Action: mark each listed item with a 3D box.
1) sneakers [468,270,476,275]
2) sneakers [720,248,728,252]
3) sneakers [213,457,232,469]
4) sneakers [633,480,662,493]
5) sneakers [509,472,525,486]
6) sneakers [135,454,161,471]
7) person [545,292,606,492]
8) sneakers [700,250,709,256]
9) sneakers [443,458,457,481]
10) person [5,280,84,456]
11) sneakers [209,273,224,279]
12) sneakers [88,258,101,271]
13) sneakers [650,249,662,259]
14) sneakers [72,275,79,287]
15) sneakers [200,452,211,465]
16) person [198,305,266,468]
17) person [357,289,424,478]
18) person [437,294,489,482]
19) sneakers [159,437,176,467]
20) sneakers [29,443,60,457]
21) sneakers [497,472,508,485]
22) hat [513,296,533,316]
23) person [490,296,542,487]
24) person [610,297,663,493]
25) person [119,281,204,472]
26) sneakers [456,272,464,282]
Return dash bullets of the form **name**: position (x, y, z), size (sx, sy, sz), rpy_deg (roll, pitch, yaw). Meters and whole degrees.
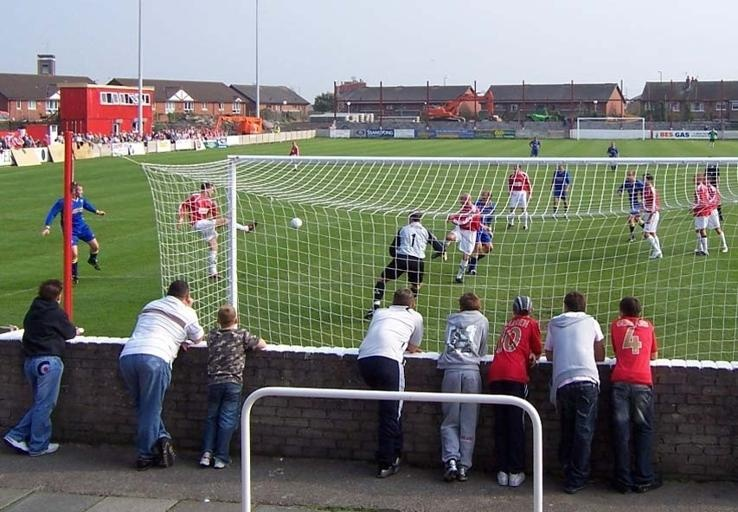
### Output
- **sneakers**: position (2.217, 0.349, 26.160), size (0.144, 0.098, 0.076), rpy_deg (1, -2, 10)
- **sneakers**: position (7.976, -0.135, 27.607), size (0.092, 0.105, 0.275), rpy_deg (-1, 0, 19)
- **sneakers**: position (-2.213, 3.119, 18.692), size (0.263, 0.170, 0.134), rpy_deg (-1, 2, -21)
- **sneakers**: position (4.158, 3.380, 18.244), size (0.473, 0.183, 0.153), rpy_deg (-3, 1, -31)
- **sneakers**: position (2.213, 3.317, 18.337), size (0.107, 0.128, 0.303), rpy_deg (2, 13, 23)
- **sneakers**: position (-3.326, 3.113, 18.624), size (0.169, 0.170, 0.409), rpy_deg (8, 7, 44)
- **person**: position (3.092, 2.014, 18.423), size (0.837, 2.904, 0.633), rpy_deg (1, 2, 9)
- **sneakers**: position (7.395, -0.065, 27.119), size (0.198, 0.133, 0.078), rpy_deg (7, 11, 27)
- **sneakers**: position (1.243, 3.192, 18.394), size (0.205, 0.330, 0.091), rpy_deg (0, 2, -3)
- **person**: position (-5.003, 1.704, 18.949), size (0.938, 2.675, 0.291), rpy_deg (0, 2, -15)
- **sneakers**: position (-3.078, 0.401, 24.910), size (0.264, 0.089, 0.182), rpy_deg (-3, 9, 36)
- **sneakers**: position (-5.926, 0.130, 26.612), size (0.152, 0.183, 0.405), rpy_deg (-27, 27, -28)
- **sneakers**: position (6.289, -0.041, 26.933), size (0.261, 0.189, 0.378), rpy_deg (1, 2, 13)
- **sneakers**: position (-6.042, 0.505, 25.520), size (0.168, 0.212, 0.384), rpy_deg (-2, -2, -2)
- **sneakers**: position (-2.458, 3.070, 18.659), size (0.155, 0.217, 0.074), rpy_deg (0, 2, -2)
- **person**: position (-2.135, 1.979, 18.783), size (0.812, 2.440, 0.368), rpy_deg (0, 2, -6)
- **person**: position (0.324, 1.907, 18.777), size (0.682, 2.762, 0.929), rpy_deg (1, 2, 34)
- **person**: position (1.464, 1.969, 18.609), size (0.744, 2.742, 0.686), rpy_deg (0, 2, -17)
- **sneakers**: position (-3.029, 2.959, 18.702), size (0.278, 0.457, 0.115), rpy_deg (-1, 2, -38)
- **sneakers**: position (-4.945, 2.985, 18.927), size (0.468, 0.182, 0.162), rpy_deg (-12, 23, -33)
- **sneakers**: position (2.007, 3.309, 18.346), size (0.197, 0.190, 0.122), rpy_deg (-2, -2, 24)
- **hat**: position (2.371, 0.734, 18.813), size (0.226, 0.282, 0.287), rpy_deg (4, 22, 8)
- **person**: position (2.184, 2.016, 18.555), size (0.526, 2.773, 0.696), rpy_deg (2, 3, 43)
- **person**: position (3.995, 2.050, 18.385), size (0.719, 2.825, 0.577), rpy_deg (1, 2, 10)
- **person**: position (-3.205, 1.797, 18.827), size (1.101, 2.782, 0.554), rpy_deg (0, 2, -12)
- **sneakers**: position (1.951, 0.433, 25.373), size (0.133, 0.212, 0.315), rpy_deg (0, -4, 16)
